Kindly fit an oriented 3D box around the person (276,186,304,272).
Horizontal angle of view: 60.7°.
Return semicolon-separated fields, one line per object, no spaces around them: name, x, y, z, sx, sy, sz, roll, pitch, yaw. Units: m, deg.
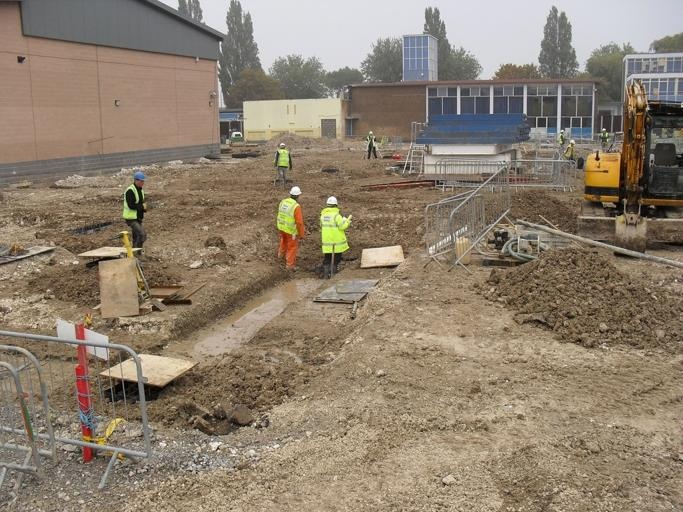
person;-1.261;-0.682;13.916;0.651;1.936;1.305;-4;12;-6

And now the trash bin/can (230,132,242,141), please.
trash bin/can;-10.659;-12.069;58.774;0.953;0.876;1.712;-1;28;-7

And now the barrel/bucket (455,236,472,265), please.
barrel/bucket;2.400;-0.084;11.594;0.278;0.513;0.514;0;13;11

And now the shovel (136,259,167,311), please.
shovel;-3.658;0.462;11.062;0.457;0.940;1.002;-7;13;-17

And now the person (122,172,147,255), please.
person;-4.657;-0.984;13.154;0.513;1.726;0.620;-13;15;-37
